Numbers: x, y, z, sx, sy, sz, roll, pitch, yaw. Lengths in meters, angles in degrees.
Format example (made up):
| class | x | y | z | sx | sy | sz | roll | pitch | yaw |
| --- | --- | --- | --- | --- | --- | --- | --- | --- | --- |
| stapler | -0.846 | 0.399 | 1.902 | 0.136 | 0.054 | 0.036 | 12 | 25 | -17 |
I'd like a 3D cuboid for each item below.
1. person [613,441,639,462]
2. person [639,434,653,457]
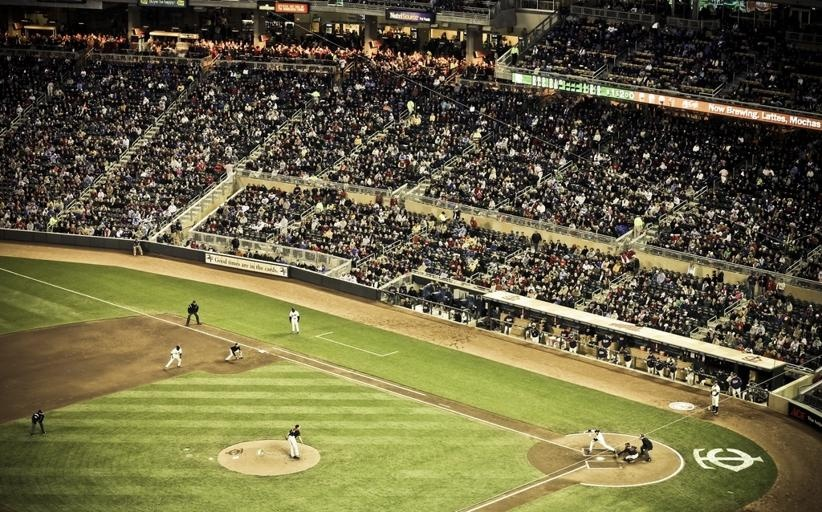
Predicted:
| class | x | y | z | sx | sy | sz | roll | pitch | yaw |
| --- | --- | --- | --- | --- | --- | --- | --- | --- | --- |
| person | 15.606 | 14.174 | 81.536 | 1.639 | 0.940 | 1.396 | 10 | 23 | 11 |
| person | 16.941 | 13.827 | 81.875 | 0.694 | 1.631 | 0.517 | 8 | 41 | 16 |
